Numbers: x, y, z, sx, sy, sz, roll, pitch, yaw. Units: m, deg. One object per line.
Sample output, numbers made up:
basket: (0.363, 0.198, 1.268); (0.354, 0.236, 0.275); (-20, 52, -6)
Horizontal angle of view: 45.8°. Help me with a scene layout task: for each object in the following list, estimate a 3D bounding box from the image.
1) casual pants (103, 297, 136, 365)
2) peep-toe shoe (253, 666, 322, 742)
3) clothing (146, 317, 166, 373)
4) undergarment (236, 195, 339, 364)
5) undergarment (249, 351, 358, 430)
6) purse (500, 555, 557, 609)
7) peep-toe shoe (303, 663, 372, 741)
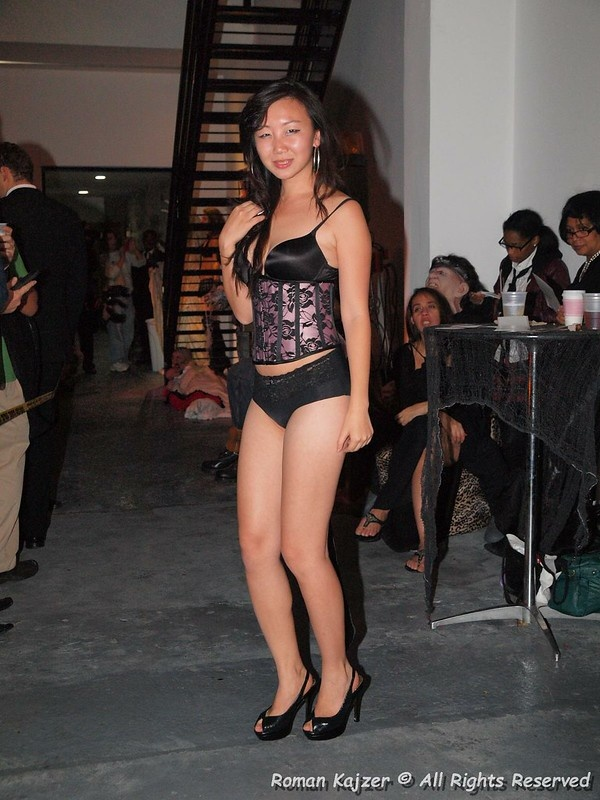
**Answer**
casual pants: (-2.389, -0.879, 9.499); (0.346, 0.959, 0.655); (-3, 6, -13)
peep-toe shoe: (-0.032, 0.695, 1.649); (0.073, 0.095, 0.210); (-20, 3, 40)
clothing: (-1.873, -0.692, 9.159); (0.153, 0.694, 0.472); (-4, 6, -17)
undergarment: (-0.030, -0.218, 1.508); (0.223, 0.285, 0.136); (-1, 6, 6)
undergarment: (-0.002, -0.026, 1.500); (0.212, 0.172, 0.153); (-2, 5, 0)
purse: (0.718, 0.564, 2.299); (0.139, 0.169, 0.174); (6, -2, 8)
peep-toe shoe: (0.091, 0.704, 1.668); (0.073, 0.129, 0.217); (-7, -8, 44)
